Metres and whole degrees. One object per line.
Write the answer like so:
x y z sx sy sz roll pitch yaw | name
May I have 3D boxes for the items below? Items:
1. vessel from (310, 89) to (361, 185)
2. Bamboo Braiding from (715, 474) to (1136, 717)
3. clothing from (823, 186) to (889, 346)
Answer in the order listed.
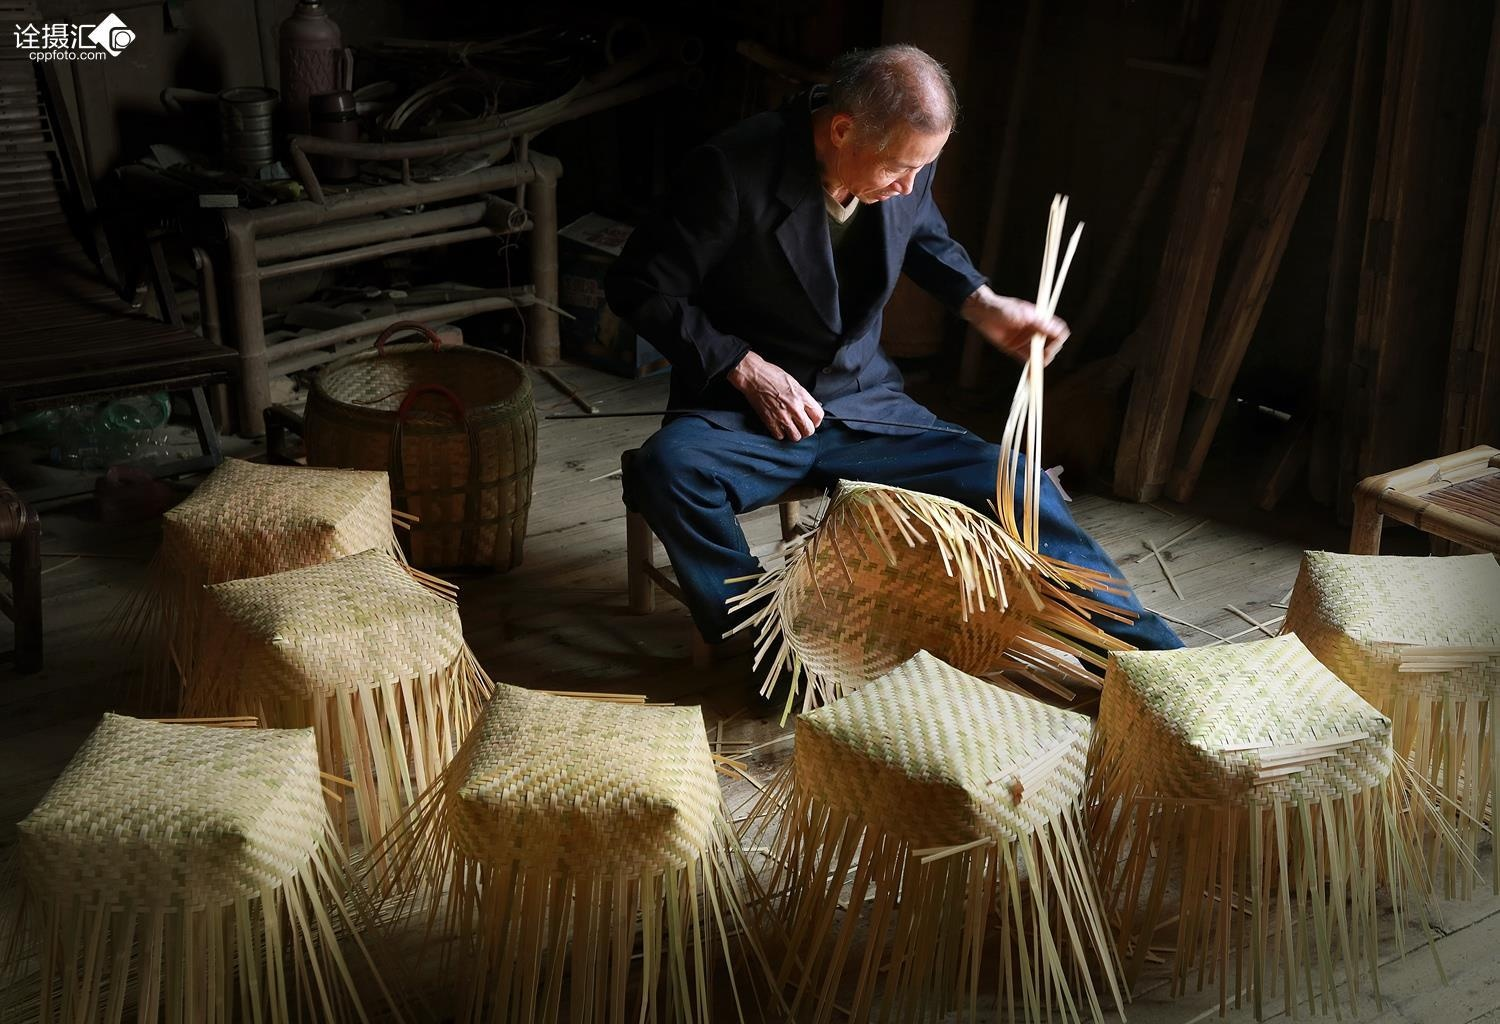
-1.384 -1.253 3.951 0.148 0.271 0.194 -5 28 -19 | vessel
0.417 0.340 2.415 0.620 0.616 0.225 21 51 -33 | Bamboo Braiding
0.259 -0.634 2.913 0.106 0.285 0.200 -3 -8 4 | clothing
